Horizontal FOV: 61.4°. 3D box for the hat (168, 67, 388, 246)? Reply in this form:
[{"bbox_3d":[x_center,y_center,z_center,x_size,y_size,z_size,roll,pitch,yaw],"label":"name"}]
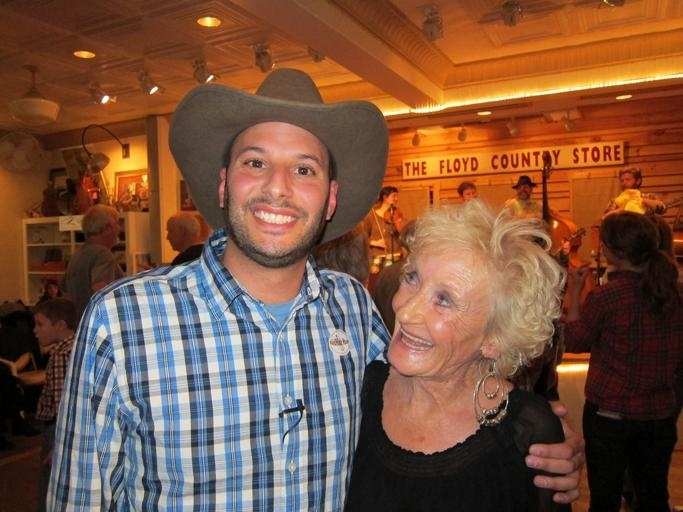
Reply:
[{"bbox_3d":[-0.310,-0.442,2.823,0.842,0.880,0.361,6,48,0],"label":"hat"}]

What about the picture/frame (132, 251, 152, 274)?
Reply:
[{"bbox_3d":[-2.674,0.067,7.682,0.268,0.279,0.482,3,8,-19],"label":"picture/frame"}]

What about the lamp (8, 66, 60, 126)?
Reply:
[{"bbox_3d":[-3.651,-1.882,6.779,0.475,0.746,1.268,-4,4,-28],"label":"lamp"}]

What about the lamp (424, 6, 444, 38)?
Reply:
[{"bbox_3d":[0.960,-2.429,6.081,0.195,0.347,0.270,-2,4,7],"label":"lamp"}]

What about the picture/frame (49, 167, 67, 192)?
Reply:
[{"bbox_3d":[-4.860,-1.298,9.863,0.451,0.424,0.065,6,8,35],"label":"picture/frame"}]

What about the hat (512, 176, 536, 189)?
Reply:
[{"bbox_3d":[2.658,-1.040,8.219,0.259,0.104,0.235,7,-7,-36],"label":"hat"}]

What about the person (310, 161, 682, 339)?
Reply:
[{"bbox_3d":[0.815,0.049,3.619,2.736,0.658,1.432,0,-5,4],"label":"person"}]

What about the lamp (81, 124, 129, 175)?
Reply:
[{"bbox_3d":[-3.918,-1.753,9.287,0.735,0.685,0.400,-29,26,-26],"label":"lamp"}]

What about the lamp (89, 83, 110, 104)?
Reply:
[{"bbox_3d":[-3.027,-2.014,7.187,0.188,0.239,0.485,-4,4,-26],"label":"lamp"}]

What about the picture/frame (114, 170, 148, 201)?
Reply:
[{"bbox_3d":[-3.319,-1.107,9.118,0.539,0.389,0.055,-1,-5,31],"label":"picture/frame"}]
